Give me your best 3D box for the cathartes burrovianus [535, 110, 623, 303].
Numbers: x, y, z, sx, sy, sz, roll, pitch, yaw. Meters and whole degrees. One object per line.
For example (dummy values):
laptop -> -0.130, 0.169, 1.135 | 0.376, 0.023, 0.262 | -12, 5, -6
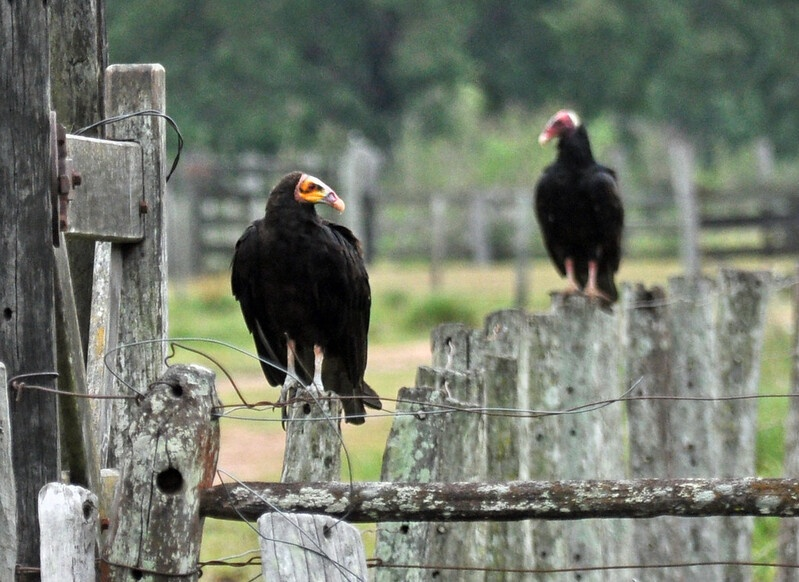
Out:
cathartes burrovianus -> 1.490, -0.737, 17.617 | 0.728, 1.593, 0.528 | -4, -5, 32
